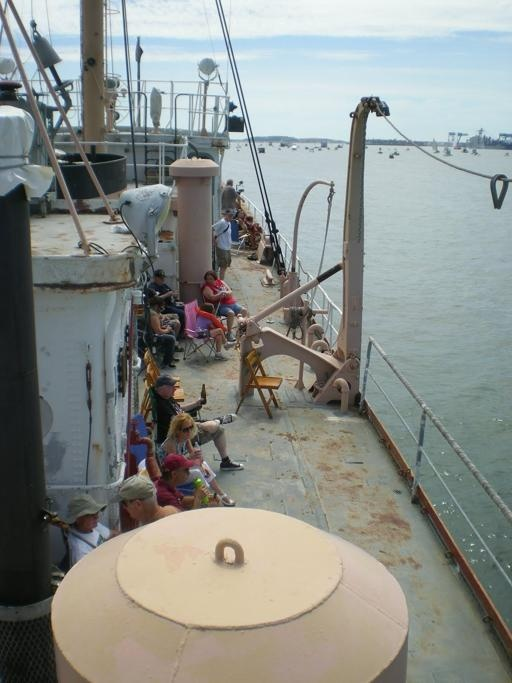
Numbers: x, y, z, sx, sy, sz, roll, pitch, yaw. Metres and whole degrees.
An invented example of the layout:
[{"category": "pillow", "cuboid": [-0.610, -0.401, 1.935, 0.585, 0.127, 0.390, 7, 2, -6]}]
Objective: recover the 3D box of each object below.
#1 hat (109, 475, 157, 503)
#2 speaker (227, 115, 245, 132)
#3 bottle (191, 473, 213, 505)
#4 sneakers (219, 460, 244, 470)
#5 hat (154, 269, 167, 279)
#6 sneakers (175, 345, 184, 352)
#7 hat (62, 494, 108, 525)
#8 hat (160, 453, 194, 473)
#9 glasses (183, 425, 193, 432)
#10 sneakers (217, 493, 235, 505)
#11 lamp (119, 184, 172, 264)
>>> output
[{"category": "hat", "cuboid": [-0.839, 1.013, 4.570, 0.267, 0.138, 0.169, -1, 0, -3]}, {"category": "speaker", "cuboid": [-0.551, -5.742, 17.598, 0.414, 0.370, 0.706, 0, 17, -2]}, {"category": "bottle", "cuboid": [-0.493, 1.316, 5.913, 0.118, 0.375, 0.090, -25, 28, 2]}, {"category": "sneakers", "cuboid": [-0.292, 1.459, 7.857, 0.286, 0.107, 0.108, 0, 6, -2]}, {"category": "hat", "cuboid": [-1.666, -1.150, 11.391, 0.186, 0.117, 0.236, 2, 4, -22]}, {"category": "sneakers", "cuboid": [-1.359, 0.132, 11.829, 0.137, 0.059, 0.099, 5, 22, -40]}, {"category": "hat", "cuboid": [-1.188, 1.148, 4.659, 0.247, 0.188, 0.345, -1, 17, -4]}, {"category": "hat", "cuboid": [-0.654, 0.994, 5.455, 0.210, 0.102, 0.129, 0, 5, -16]}, {"category": "glasses", "cuboid": [-0.628, 0.806, 6.163, 0.025, 0.065, 0.117, 11, 20, 29]}, {"category": "sneakers", "cuboid": [-0.313, 1.608, 6.765, 0.115, 0.096, 0.282, 2, -11, 3]}, {"category": "lamp", "cuboid": [-0.873, -1.021, 5.578, 0.570, 0.625, 0.550, 0, 28, -3]}]
